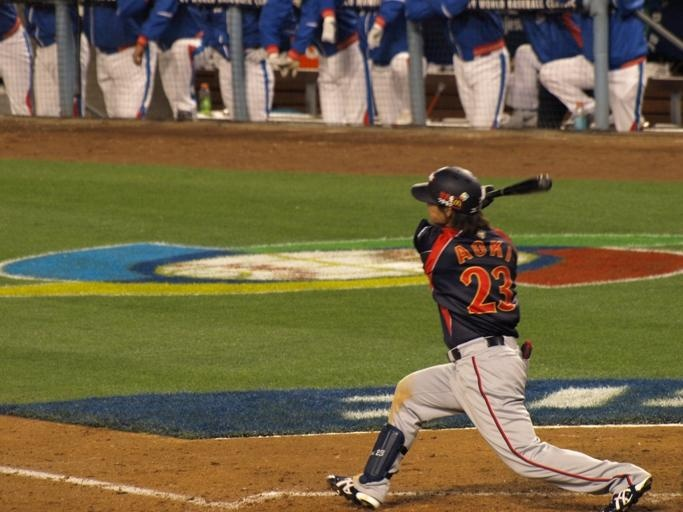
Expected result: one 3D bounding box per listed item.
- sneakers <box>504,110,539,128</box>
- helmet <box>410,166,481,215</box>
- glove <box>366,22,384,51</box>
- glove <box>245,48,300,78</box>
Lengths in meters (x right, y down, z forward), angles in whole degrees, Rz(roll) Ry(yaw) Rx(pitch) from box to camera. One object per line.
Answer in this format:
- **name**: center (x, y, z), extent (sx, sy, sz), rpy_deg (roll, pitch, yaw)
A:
- **sneakers**: center (2.060, -1.589, 26.459), extent (0.526, 0.207, 0.181), rpy_deg (0, 12, -1)
- **helmet**: center (0.977, -0.673, 20.755), extent (0.707, 0.343, 0.527), rpy_deg (10, 28, 0)
- **glove**: center (0.360, -2.463, 25.467), extent (0.155, 0.263, 0.079), rpy_deg (14, 38, 7)
- **glove**: center (-0.790, -2.225, 25.513), extent (0.527, 0.170, 0.299), rpy_deg (22, 12, 10)
